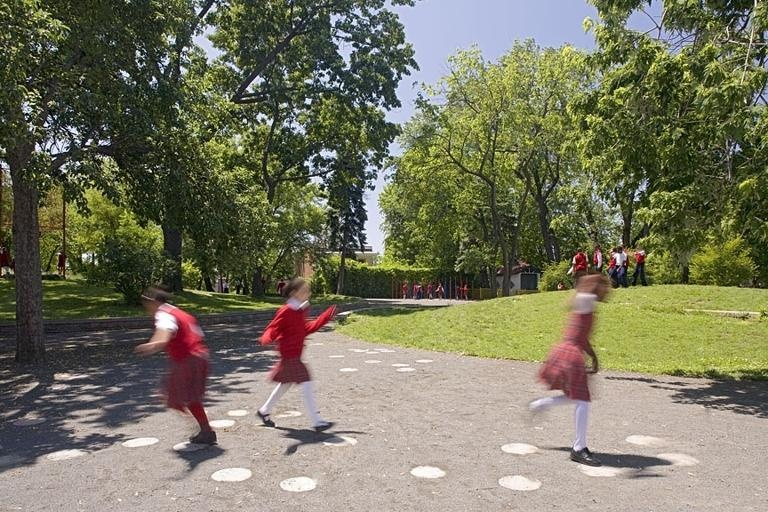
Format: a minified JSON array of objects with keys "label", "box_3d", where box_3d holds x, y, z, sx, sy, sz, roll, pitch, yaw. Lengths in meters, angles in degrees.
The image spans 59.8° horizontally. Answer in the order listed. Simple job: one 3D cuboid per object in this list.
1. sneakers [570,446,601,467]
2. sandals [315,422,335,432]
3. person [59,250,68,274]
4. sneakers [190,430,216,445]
[{"label":"sneakers","box_3d":[3.301,3.281,10.897,0.472,0.255,0.272,-1,9,-5]},{"label":"sandals","box_3d":[-1.066,3.085,11.989,0.334,0.129,0.121,-1,2,-20]},{"label":"person","box_3d":[-20.685,0.566,42.652,0.415,1.457,1.386,-6,11,-27]},{"label":"sneakers","box_3d":[-3.074,3.129,11.400,0.465,0.189,0.197,2,-11,5]}]
